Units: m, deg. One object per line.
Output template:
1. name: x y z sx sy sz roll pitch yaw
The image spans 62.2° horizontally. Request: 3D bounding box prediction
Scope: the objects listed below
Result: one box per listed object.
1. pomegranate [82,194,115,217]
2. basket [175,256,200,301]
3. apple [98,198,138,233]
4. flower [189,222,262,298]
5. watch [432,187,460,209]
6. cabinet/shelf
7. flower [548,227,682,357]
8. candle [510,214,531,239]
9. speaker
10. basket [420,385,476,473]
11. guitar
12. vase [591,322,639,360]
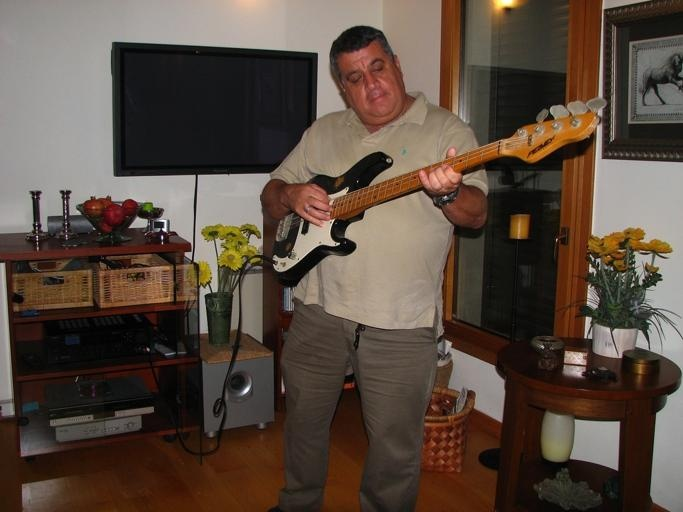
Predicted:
1. pomegranate: -1.316 -0.247 3.073 0.123 0.187 0.128 3 -5 -19
2. basket: -0.851 0.102 3.148 0.175 0.253 0.319 1 5 -17
3. apple: -1.215 -0.216 3.022 0.155 0.123 0.175 -1 4 -3
4. flower: -0.695 -0.044 3.368 0.395 0.544 0.436 -6 15 -25
5. watch: 0.357 -0.195 1.905 0.085 0.062 0.113 0 5 12
6. cabinet/shelf: -1.297 0.477 2.997 0.988 1.290 0.622 -4 8 -26
7. flower: 1.265 0.125 2.623 0.477 0.495 0.482 5 8 40
8. candle: 0.881 -0.141 2.840 0.107 0.129 0.109 8 12 39
9. speaker: -0.651 0.731 3.390 0.337 0.418 0.530 -2 7 -21
10. basket: 0.535 0.934 3.053 0.354 0.400 0.366 -1 8 -1
11. guitar: 0.232 -0.158 2.061 1.394 0.630 0.325 3 6 43
12. vase: 1.197 0.361 2.450 0.139 0.127 0.160 1 0 3
